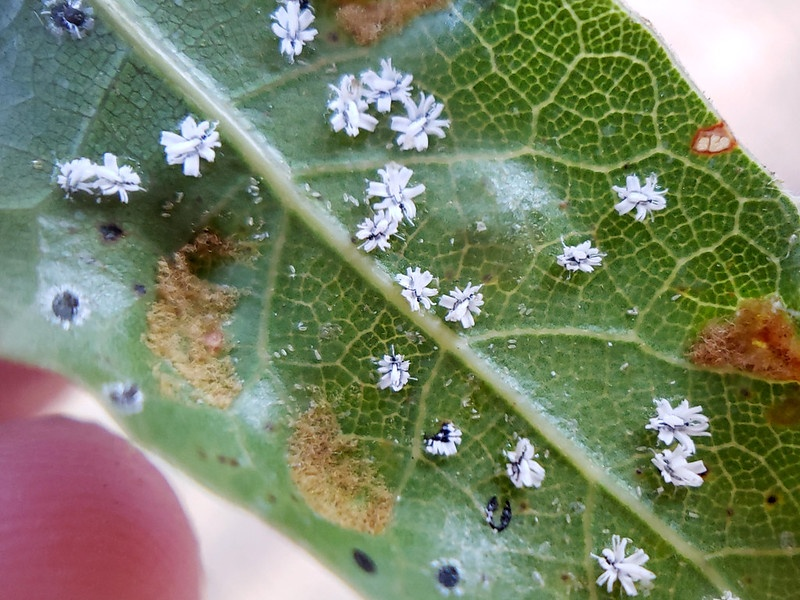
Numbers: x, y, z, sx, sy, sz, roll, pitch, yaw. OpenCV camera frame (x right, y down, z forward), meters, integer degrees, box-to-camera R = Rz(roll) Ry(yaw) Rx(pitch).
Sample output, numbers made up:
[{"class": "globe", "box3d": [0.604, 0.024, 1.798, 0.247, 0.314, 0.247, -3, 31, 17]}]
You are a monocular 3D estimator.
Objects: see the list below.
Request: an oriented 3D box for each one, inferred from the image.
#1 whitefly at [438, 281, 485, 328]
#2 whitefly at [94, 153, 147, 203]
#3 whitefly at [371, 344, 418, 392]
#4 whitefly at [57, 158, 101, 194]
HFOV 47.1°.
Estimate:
[{"class": "whitefly", "box3d": [0.436, 0.026, 6.119, 0.243, 0.314, 0.116, -3, 6, -5]}, {"class": "whitefly", "box3d": [-1.918, -0.817, 6.182, 0.282, 0.310, 0.103, -33, 18, -4]}, {"class": "whitefly", "box3d": [-0.027, 0.470, 6.184, 0.203, 0.272, 0.102, -7, -9, 1]}, {"class": "whitefly", "box3d": [-2.174, -0.835, 6.214, 0.108, 0.211, 0.254, -164, 94, -82]}]
